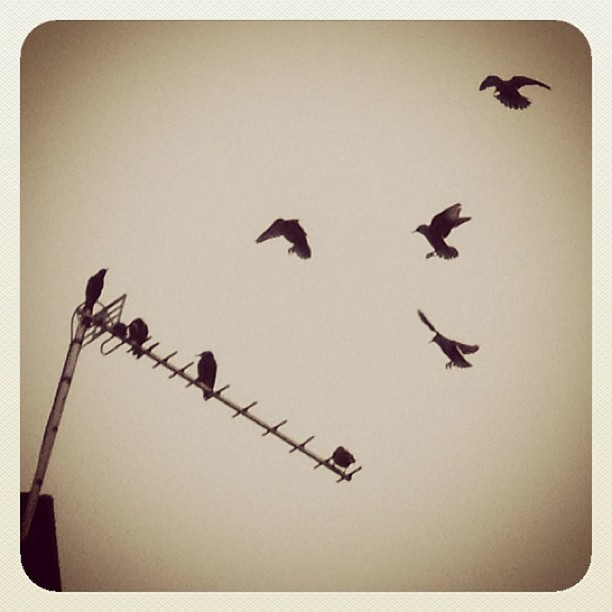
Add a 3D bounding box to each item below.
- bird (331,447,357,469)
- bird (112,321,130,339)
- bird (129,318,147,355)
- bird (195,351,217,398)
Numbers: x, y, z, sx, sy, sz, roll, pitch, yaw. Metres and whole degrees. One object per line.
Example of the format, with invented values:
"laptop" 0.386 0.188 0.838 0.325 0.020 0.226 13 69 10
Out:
"bird" 0.086 0.361 2.617 0.034 0.042 0.050 21 2 23
"bird" -0.444 0.060 2.616 0.043 0.034 0.020 44 -3 3
"bird" -0.404 0.074 2.615 0.050 0.076 0.026 -1 -5 6
"bird" -0.234 0.169 2.659 0.034 0.121 0.067 3 0 -28
